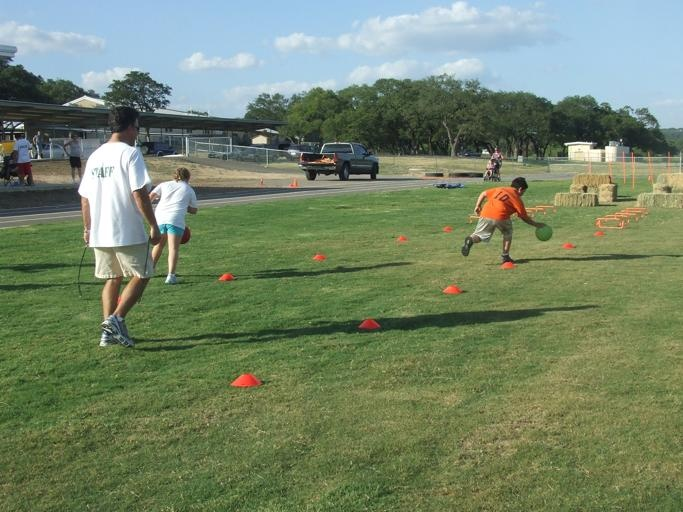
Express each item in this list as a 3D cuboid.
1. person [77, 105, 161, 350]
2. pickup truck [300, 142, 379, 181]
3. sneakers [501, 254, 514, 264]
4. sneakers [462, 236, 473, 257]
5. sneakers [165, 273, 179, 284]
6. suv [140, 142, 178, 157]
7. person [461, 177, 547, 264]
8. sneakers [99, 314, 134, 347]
[{"bbox_3d":[-2.110,-0.270,5.801,0.681,2.332,0.794,-6,13,-22],"label":"person"},{"bbox_3d":[0.233,-5.765,36.510,2.360,1.554,4.480,6,12,34],"label":"pickup truck"},{"bbox_3d":[2.760,0.043,9.967,0.122,0.187,0.197,-3,-1,7],"label":"sneakers"},{"bbox_3d":[2.231,-0.166,10.570,0.163,0.376,0.175,9,-11,46],"label":"sneakers"},{"bbox_3d":[-2.427,0.327,8.612,0.118,0.127,0.180,3,-5,-1],"label":"sneakers"},{"bbox_3d":[-18.938,-11.423,63.709,1.997,0.914,2.904,2,0,27],"label":"suv"},{"bbox_3d":[2.637,-0.611,10.335,1.746,1.558,0.757,-3,8,-26],"label":"person"},{"bbox_3d":[-2.183,0.761,5.868,0.209,0.200,0.424,-2,-33,9],"label":"sneakers"}]
